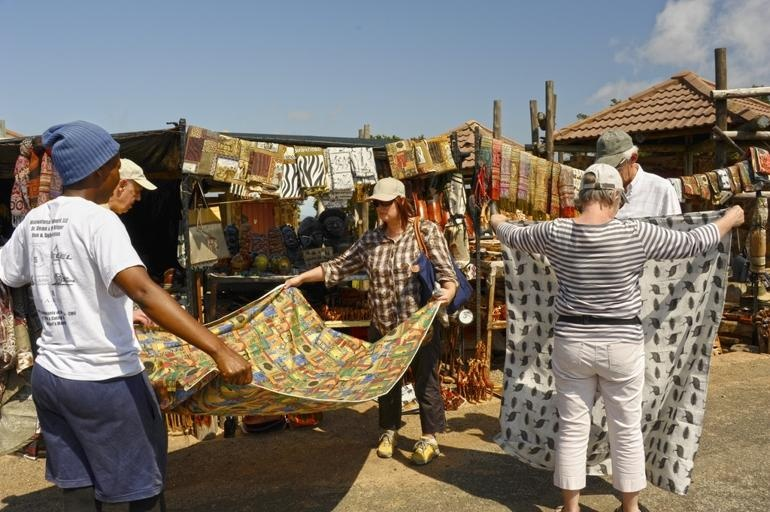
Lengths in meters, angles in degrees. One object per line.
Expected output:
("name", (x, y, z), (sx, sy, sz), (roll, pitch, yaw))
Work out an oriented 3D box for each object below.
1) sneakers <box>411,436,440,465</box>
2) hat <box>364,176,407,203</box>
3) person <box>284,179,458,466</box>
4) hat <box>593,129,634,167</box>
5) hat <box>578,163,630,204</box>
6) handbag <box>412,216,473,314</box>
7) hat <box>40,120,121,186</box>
("sneakers", (0.364, 1.770, 6.514), (0.156, 0.133, 0.305), (-4, -8, 23))
("hat", (0.028, -0.581, 6.242), (0.191, 0.155, 0.276), (2, 1, 35))
("person", (0.077, 0.577, 6.488), (1.182, 2.554, 0.565), (5, 14, 30))
("hat", (1.975, -0.900, 6.107), (0.279, 0.226, 0.401), (7, 37, 46))
("hat", (1.710, -0.607, 5.497), (0.421, 0.225, 0.301), (4, -1, -37))
("handbag", (0.495, 0.098, 6.265), (0.502, 0.812, 0.411), (0, 12, 8))
("hat", (-1.980, -0.685, 4.733), (0.513, 0.402, 0.380), (-11, 18, -10))
